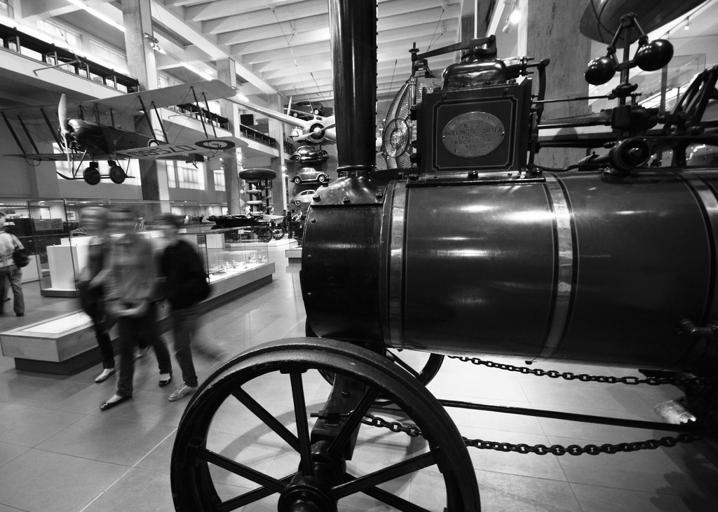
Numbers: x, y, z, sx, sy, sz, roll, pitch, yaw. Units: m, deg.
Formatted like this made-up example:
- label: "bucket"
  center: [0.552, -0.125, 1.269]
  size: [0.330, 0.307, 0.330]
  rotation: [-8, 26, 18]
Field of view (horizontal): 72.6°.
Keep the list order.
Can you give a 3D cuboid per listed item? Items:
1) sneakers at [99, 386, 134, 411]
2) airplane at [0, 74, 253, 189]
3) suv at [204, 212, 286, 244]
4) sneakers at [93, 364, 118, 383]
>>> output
- label: "sneakers"
  center: [-2.600, 1.568, 5.278]
  size: [0.127, 0.124, 0.346]
  rotation: [-3, -5, 30]
- label: "airplane"
  center: [-5.890, -3.275, 12.529]
  size: [5.513, 1.636, 3.882]
  rotation: [4, 14, 26]
- label: "suv"
  center: [-4.196, -0.742, 17.598]
  size: [2.806, 0.862, 1.633]
  rotation: [-1, 7, 6]
- label: "sneakers"
  center: [-2.982, 1.399, 5.768]
  size: [0.106, 0.112, 0.282]
  rotation: [-10, 0, 9]
